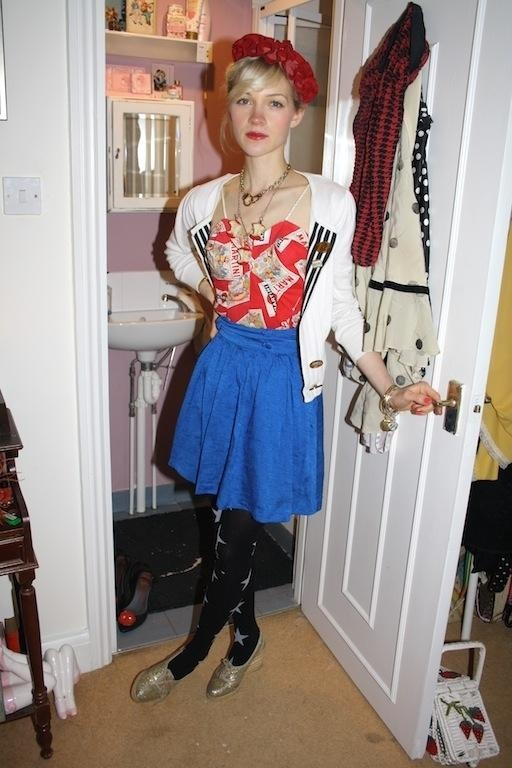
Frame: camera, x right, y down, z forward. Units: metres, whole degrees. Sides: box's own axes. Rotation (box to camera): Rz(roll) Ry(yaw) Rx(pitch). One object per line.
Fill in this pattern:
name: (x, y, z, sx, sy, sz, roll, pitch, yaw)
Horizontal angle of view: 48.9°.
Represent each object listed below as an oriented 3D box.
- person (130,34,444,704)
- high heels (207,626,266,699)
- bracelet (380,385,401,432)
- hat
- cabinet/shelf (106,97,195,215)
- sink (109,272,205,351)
person: (0.045, 0.024, 1.296, 0.720, 1.507, 0.381, 9, 11, 28)
high heels: (-0.047, 0.808, 1.664, 0.085, 0.100, 0.234, -2, 11, 40)
bracelet: (0.282, 0.053, 1.197, 0.032, 0.088, 0.064, 1, 6, 26)
hat: (0.044, -0.632, 1.118, 0.172, 0.106, 0.095, -2, 14, -18)
cabinet/shelf: (-0.431, -0.911, 2.244, 0.333, 0.415, 0.187, -6, 20, -24)
sink: (-0.422, -0.281, 2.237, 0.386, 0.385, 0.340, -5, 18, -20)
